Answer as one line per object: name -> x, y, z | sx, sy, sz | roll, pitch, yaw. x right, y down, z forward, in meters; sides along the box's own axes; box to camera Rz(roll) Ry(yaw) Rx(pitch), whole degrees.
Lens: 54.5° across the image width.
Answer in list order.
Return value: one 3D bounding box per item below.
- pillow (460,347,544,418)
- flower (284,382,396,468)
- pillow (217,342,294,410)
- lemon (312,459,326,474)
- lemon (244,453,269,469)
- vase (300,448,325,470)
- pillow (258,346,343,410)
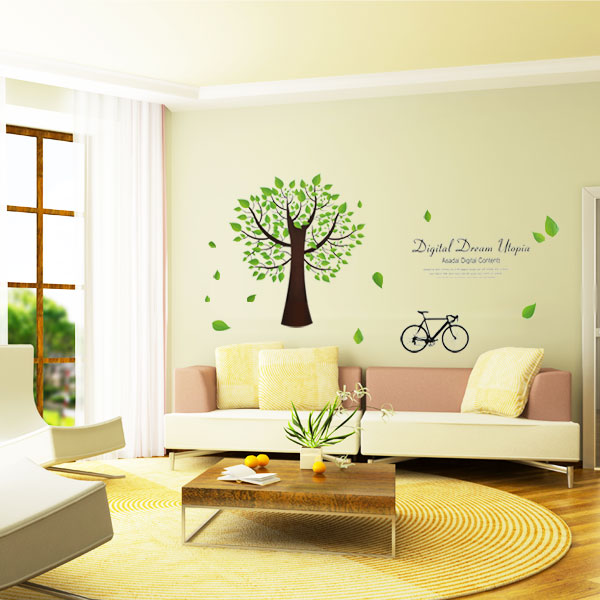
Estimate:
pillow -> 1.488, 0.583, 4.228 | 0.163, 0.516, 0.542 | 23, -13, -24
flower -> 0.272, 0.823, 3.932 | 0.524, 0.548, 0.712 | -21, -17, 20
pillow -> -0.509, 0.610, 4.692 | 0.506, 0.468, 0.212 | -2, -2, -15
lemon -> 0.099, 0.832, 2.929 | 0.064, 0.063, 0.064 | 7, 11, 7
lemon -> -0.230, 0.827, 3.009 | 0.136, 0.077, 0.082 | 2, -3, -14
vase -> 0.047, 0.821, 3.008 | 0.105, 0.079, 0.108 | 1, -2, 10
pillow -> -0.042, 0.608, 4.669 | 0.644, 0.465, 0.206 | -3, -4, -1
